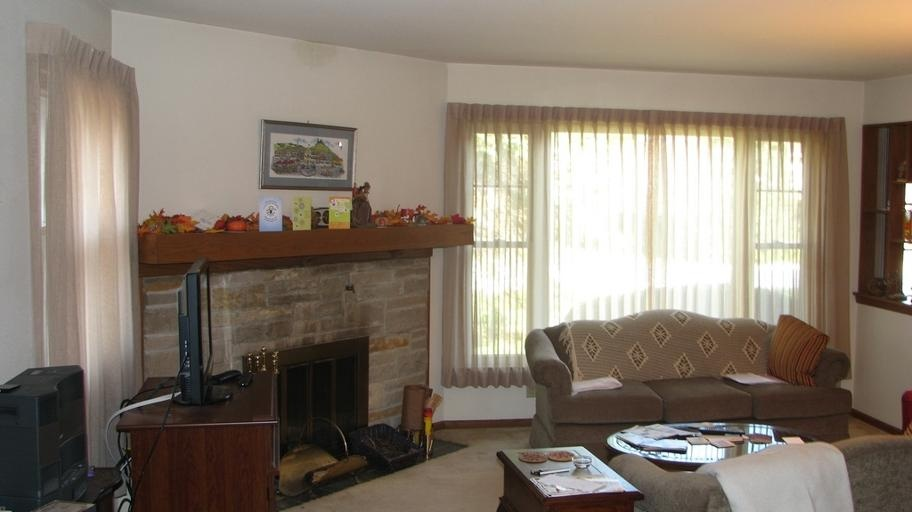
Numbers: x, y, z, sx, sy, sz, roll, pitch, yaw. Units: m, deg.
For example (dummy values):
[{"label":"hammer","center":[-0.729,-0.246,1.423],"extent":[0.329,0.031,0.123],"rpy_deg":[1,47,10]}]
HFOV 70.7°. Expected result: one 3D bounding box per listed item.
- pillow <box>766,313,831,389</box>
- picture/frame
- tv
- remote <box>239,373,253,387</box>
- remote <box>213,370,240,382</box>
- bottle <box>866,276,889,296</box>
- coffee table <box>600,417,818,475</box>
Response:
[{"label":"pillow","center":[3.368,0.962,6.353],"extent":[0.340,0.491,0.612],"rpy_deg":[-6,10,-18]},{"label":"picture/frame","center":[-1.380,-0.943,5.979],"extent":[0.851,0.529,0.054],"rpy_deg":[0,1,-32]},{"label":"tv","center":[-1.901,0.554,4.849],"extent":[0.516,0.928,1.063],"rpy_deg":[-1,3,-16]},{"label":"remote","center":[-1.525,0.917,4.756],"extent":[0.091,0.045,0.147],"rpy_deg":[0,-1,-2]},{"label":"remote","center":[-1.664,0.892,4.791],"extent":[0.096,0.031,0.130],"rpy_deg":[6,9,39]},{"label":"bottle","center":[4.573,0.340,6.999],"extent":[0.174,0.149,0.202],"rpy_deg":[0,6,3]},{"label":"coffee table","center":[1.873,1.457,4.931],"extent":[0.806,0.155,0.677],"rpy_deg":[-1,-1,-15]}]
